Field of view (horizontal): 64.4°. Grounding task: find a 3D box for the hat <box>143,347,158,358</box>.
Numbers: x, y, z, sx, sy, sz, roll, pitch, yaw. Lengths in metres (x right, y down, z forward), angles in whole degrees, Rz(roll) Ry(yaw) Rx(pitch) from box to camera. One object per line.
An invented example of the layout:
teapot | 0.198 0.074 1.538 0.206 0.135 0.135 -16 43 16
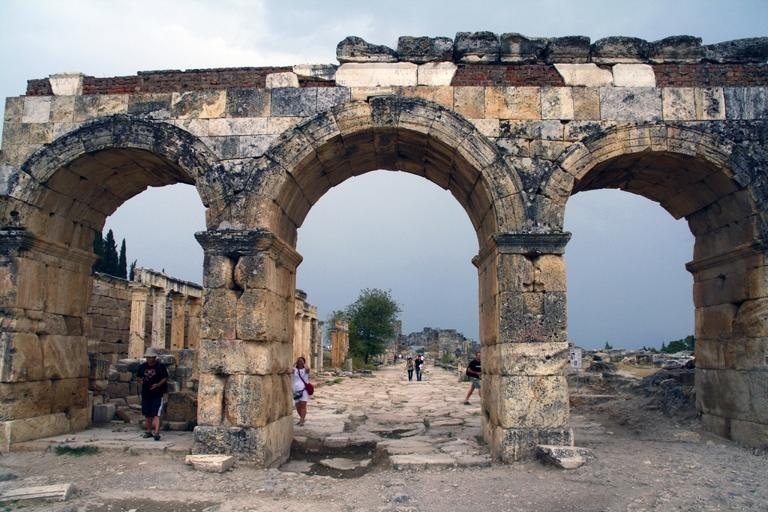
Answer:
hat | -4.194 1.707 10.851 0.232 0.151 0.270 1 1 -16

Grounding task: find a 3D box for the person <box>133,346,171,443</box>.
person | -4.086 2.420 10.663 0.474 1.562 0.738 -2 8 -16

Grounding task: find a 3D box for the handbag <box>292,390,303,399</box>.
handbag | -1.744 2.785 12.299 0.214 0.214 0.149 -5 -9 -2
